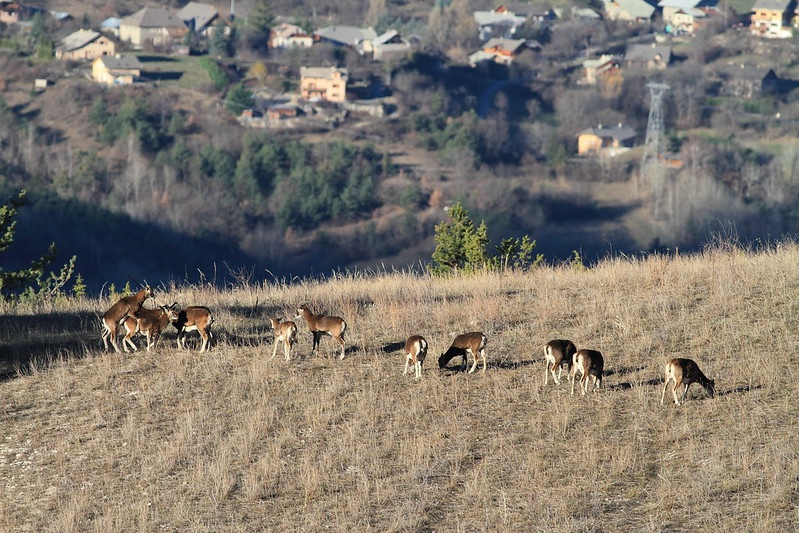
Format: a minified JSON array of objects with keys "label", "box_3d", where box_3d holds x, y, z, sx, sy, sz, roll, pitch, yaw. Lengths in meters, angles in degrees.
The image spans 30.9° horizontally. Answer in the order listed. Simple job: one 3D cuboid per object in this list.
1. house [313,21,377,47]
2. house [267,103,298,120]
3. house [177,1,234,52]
[{"label":"house","box_3d":[-14.188,-60.410,378.351,14.890,5.521,11.304,-8,9,-3]},{"label":"house","box_3d":[-28.093,-36.965,346.406,7.210,2.993,4.895,-7,9,-1]},{"label":"house","box_3d":[-50.722,-61.647,373.922,9.811,6.694,15.147,-1,25,-20]}]
